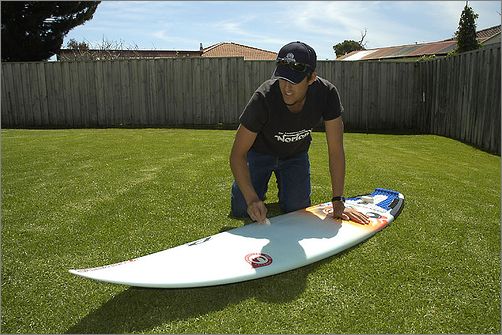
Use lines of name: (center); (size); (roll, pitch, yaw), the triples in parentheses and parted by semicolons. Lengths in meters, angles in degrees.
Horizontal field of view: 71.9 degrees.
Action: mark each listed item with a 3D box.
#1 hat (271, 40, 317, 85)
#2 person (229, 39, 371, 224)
hat: (0.382, -0.889, 2.935); (0.361, 0.351, 0.219); (2, 14, 0)
person: (0.385, -0.288, 3.229); (1.176, 1.671, 1.397); (-15, 24, -41)
